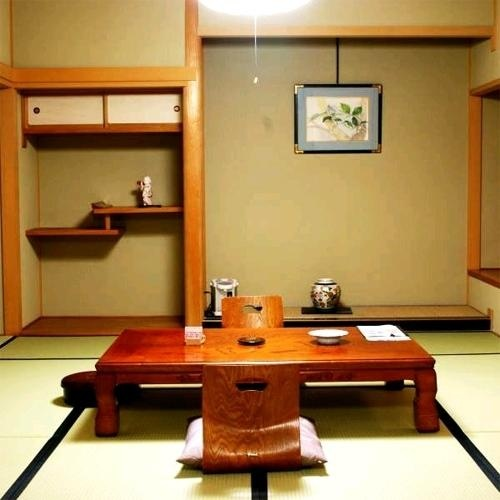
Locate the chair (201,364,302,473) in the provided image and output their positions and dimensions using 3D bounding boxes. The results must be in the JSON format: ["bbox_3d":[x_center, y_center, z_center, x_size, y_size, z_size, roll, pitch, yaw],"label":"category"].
[{"bbox_3d":[-0.001,0.705,2.482,0.552,0.520,0.471,0,0,2],"label":"chair"}]

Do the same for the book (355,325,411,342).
[{"bbox_3d":[0.823,0.527,3.281,0.267,0.030,0.278,-2,10,-3],"label":"book"}]

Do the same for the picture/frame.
[{"bbox_3d":[0.876,-1.338,5.155,0.753,0.517,0.054,0,7,1],"label":"picture/frame"}]

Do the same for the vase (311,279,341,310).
[{"bbox_3d":[0.728,0.426,5.050,0.304,0.258,0.291,0,-1,0],"label":"vase"}]
